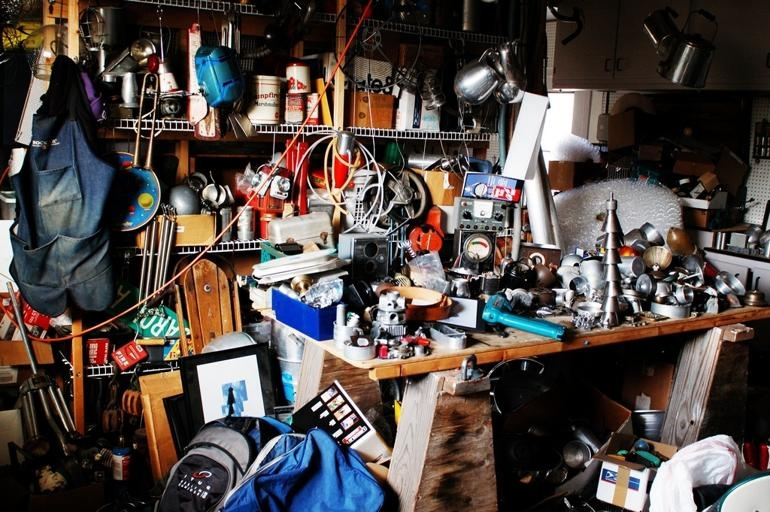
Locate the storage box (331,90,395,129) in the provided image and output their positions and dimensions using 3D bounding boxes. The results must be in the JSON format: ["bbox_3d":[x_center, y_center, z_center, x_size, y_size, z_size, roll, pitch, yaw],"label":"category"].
[{"bbox_3d":[-0.104,-1.005,4.077,0.466,0.280,0.249,0,16,-9],"label":"storage box"}]

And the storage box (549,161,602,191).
[{"bbox_3d":[1.679,-0.725,5.197,0.389,0.240,0.380,-10,14,-29],"label":"storage box"}]

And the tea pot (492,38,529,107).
[{"bbox_3d":[0.728,-1.087,3.443,0.180,0.362,0.242,2,7,11],"label":"tea pot"}]

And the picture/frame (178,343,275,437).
[{"bbox_3d":[-0.875,0.759,3.262,0.456,0.486,0.038,-5,-10,-23],"label":"picture/frame"}]

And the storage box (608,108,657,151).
[{"bbox_3d":[2.110,-1.069,5.019,0.378,0.338,0.094,3,7,17],"label":"storage box"}]

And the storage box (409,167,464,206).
[{"bbox_3d":[0.403,-0.496,4.228,0.292,0.189,0.291,6,19,4],"label":"storage box"}]

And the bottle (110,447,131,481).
[{"bbox_3d":[-1.525,1.174,3.355,0.151,0.182,0.063,4,7,23],"label":"bottle"}]

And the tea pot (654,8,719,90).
[{"bbox_3d":[1.875,-1.301,3.680,0.314,0.478,0.228,4,7,24],"label":"tea pot"}]
